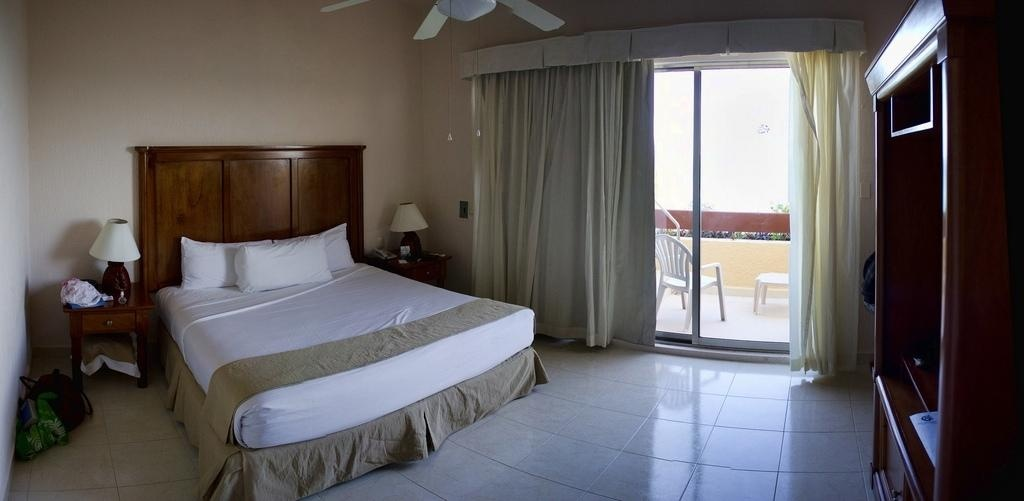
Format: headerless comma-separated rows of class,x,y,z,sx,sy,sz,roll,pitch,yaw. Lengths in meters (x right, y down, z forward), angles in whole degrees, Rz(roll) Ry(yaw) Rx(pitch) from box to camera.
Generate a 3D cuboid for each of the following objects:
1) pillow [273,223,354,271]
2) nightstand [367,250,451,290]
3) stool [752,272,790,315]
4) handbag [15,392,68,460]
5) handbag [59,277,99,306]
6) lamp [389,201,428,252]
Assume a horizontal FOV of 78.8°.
pillow,-2.445,-0.041,7.542,0.594,0.357,0.154,-15,-7,-31
nightstand,-1.343,0.145,8.258,0.731,0.741,0.649,11,17,32
stool,2.972,0.480,7.307,0.451,0.377,0.426,4,17,17
handbag,-4.426,1.638,5.799,0.523,0.476,0.181,-22,-8,-34
handbag,-4.549,0.441,6.568,0.357,0.253,0.238,-3,9,-11
lamp,-1.396,-0.300,8.279,0.451,0.665,0.482,-3,9,-11
